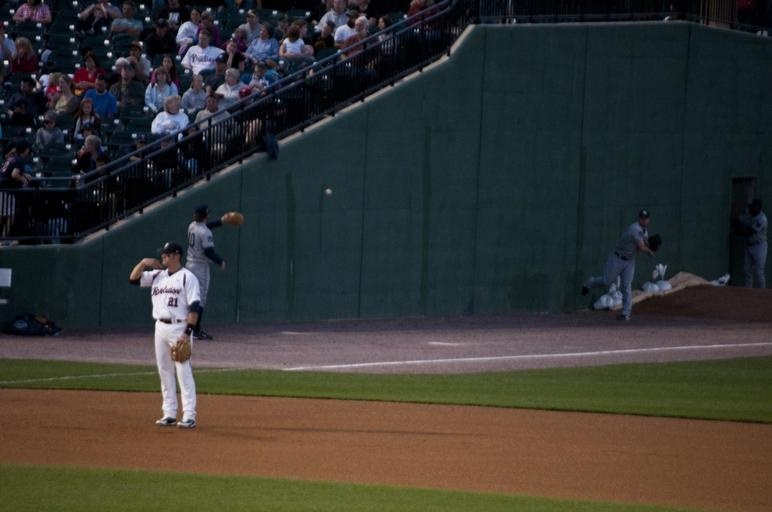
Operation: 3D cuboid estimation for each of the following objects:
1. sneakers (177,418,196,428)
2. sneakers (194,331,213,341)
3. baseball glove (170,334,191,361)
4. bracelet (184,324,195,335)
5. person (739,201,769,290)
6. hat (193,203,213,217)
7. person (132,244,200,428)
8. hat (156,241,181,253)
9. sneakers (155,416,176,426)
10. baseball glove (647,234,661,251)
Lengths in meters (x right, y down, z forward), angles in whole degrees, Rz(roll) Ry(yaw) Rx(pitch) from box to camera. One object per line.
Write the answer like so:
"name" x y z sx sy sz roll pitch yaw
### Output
"sneakers" -3.472 2.960 27.557 0.280 0.130 0.139 4 2 -3
"sneakers" -3.852 1.713 33.281 0.451 0.215 0.171 2 13 -2
"baseball glove" -3.528 1.635 27.422 0.332 0.438 0.165 10 1 -14
"bracelet" -3.400 1.336 27.518 0.169 0.165 0.167 28 2 17
"person" 9.250 -0.258 39.620 0.630 2.170 0.929 0 -4 20
"hat" -3.794 -0.898 32.747 0.219 0.188 0.342 13 42 16
"person" -3.729 1.417 27.624 0.909 3.233 0.454 2 -4 -4
"hat" -3.778 -0.109 27.724 0.316 0.171 0.225 4 2 -1
"sneakers" -3.839 2.937 27.608 0.309 0.146 0.153 5 -2 -5
"baseball glove" 6.223 -0.273 36.447 0.259 0.366 0.511 1 -4 9
